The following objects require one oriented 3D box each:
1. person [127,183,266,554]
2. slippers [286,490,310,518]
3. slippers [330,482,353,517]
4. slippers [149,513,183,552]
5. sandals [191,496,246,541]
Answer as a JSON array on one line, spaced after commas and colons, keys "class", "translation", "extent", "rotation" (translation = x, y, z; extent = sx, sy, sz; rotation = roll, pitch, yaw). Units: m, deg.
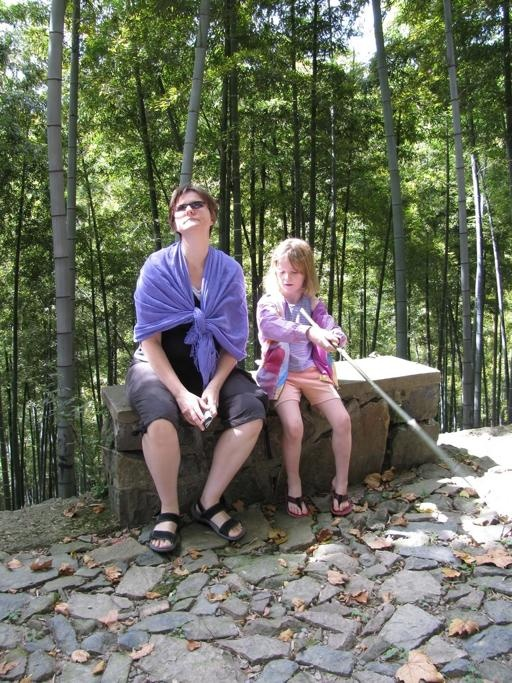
[{"class": "person", "translation": [-0.215, 0.068, 2.104], "extent": [0.519, 1.281, 0.574], "rotation": [-4, 10, -13]}, {"class": "slippers", "translation": [0.159, 0.647, 2.245], "extent": [0.081, 0.096, 0.049], "rotation": [-1, 10, 2]}, {"class": "slippers", "translation": [0.344, 0.635, 2.333], "extent": [0.085, 0.099, 0.177], "rotation": [0, 10, 9]}, {"class": "slippers", "translation": [-0.309, 0.655, 1.922], "extent": [0.065, 0.066, 0.171], "rotation": [0, -6, -1]}, {"class": "sandals", "translation": [-0.143, 0.632, 2.111], "extent": [0.228, 0.098, 0.088], "rotation": [28, 40, 29]}]
